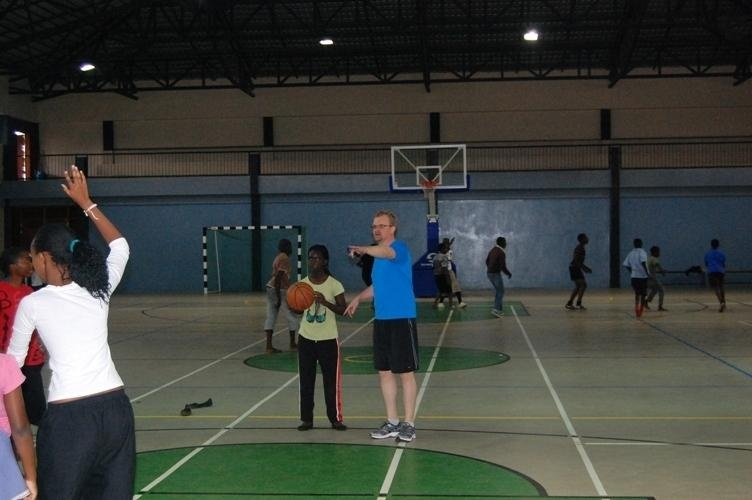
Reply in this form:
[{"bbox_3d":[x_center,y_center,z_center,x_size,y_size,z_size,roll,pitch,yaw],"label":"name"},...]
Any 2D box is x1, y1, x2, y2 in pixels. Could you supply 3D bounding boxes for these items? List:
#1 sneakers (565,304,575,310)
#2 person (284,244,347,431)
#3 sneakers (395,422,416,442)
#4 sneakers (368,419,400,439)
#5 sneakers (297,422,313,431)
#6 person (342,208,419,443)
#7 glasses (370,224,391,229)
[{"bbox_3d":[5.240,1.542,19.943,0.328,0.193,0.107,-1,3,-9],"label":"sneakers"},{"bbox_3d":[-0.707,1.094,9.468,0.625,2.289,0.670,0,2,-6],"label":"person"},{"bbox_3d":[0.354,2.174,8.946,0.249,0.229,0.218,1,2,-5],"label":"sneakers"},{"bbox_3d":[0.096,2.187,9.053,0.411,0.181,0.166,-2,-4,-8],"label":"sneakers"},{"bbox_3d":[-0.916,2.197,9.231,0.077,0.075,0.202,-5,-18,21],"label":"sneakers"},{"bbox_3d":[0.187,0.912,8.982,0.607,2.744,0.415,1,2,-2],"label":"person"},{"bbox_3d":[0.036,-0.286,8.900,0.275,0.061,0.137,2,2,29],"label":"glasses"}]
